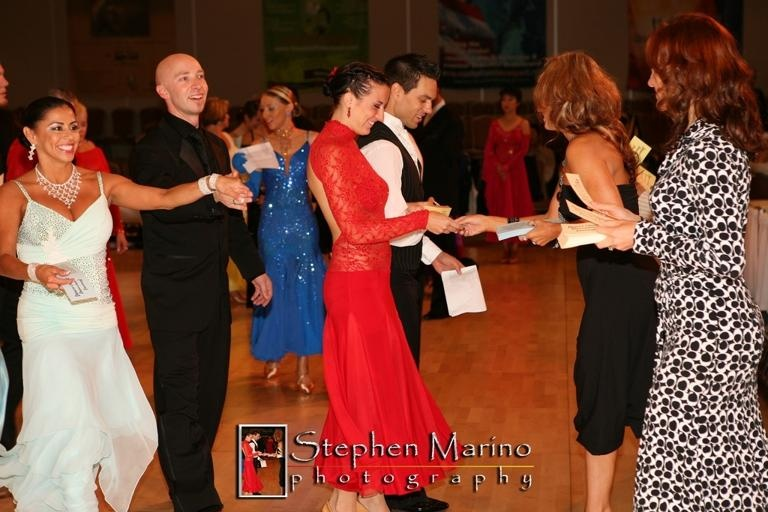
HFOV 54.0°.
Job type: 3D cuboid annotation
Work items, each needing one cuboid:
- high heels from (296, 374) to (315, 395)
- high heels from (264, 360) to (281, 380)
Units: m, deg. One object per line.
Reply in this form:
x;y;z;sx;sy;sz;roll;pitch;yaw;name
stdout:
-0.600;0.985;5.685;0.120;0.136;0.340;1;-5;-11;high heels
-0.896;0.929;6.033;0.088;0.141;0.143;3;-10;-3;high heels
